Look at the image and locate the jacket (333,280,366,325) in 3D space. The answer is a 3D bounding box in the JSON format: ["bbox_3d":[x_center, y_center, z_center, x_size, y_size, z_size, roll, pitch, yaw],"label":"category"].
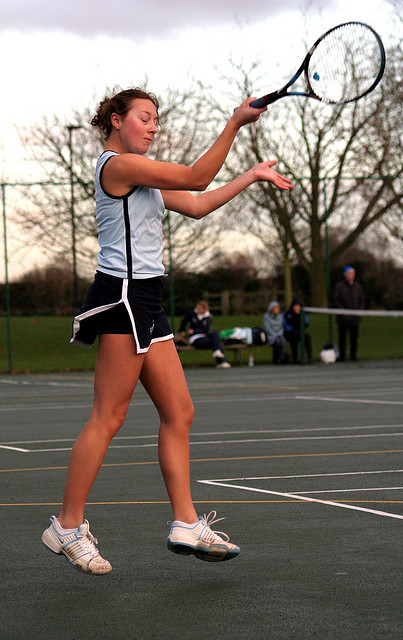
[{"bbox_3d":[3.694,-0.435,17.679,0.822,1.088,0.547,0,1,-8],"label":"jacket"}]

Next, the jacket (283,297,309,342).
[{"bbox_3d":[2.475,0.041,18.167,0.685,1.262,0.651,-13,11,-32],"label":"jacket"}]

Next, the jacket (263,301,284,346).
[{"bbox_3d":[1.830,0.076,18.180,0.546,1.092,0.525,0,1,13],"label":"jacket"}]

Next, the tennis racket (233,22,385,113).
[{"bbox_3d":[0.574,-1.463,4.411,0.086,0.494,1.267,-7,1,-44],"label":"tennis racket"}]
